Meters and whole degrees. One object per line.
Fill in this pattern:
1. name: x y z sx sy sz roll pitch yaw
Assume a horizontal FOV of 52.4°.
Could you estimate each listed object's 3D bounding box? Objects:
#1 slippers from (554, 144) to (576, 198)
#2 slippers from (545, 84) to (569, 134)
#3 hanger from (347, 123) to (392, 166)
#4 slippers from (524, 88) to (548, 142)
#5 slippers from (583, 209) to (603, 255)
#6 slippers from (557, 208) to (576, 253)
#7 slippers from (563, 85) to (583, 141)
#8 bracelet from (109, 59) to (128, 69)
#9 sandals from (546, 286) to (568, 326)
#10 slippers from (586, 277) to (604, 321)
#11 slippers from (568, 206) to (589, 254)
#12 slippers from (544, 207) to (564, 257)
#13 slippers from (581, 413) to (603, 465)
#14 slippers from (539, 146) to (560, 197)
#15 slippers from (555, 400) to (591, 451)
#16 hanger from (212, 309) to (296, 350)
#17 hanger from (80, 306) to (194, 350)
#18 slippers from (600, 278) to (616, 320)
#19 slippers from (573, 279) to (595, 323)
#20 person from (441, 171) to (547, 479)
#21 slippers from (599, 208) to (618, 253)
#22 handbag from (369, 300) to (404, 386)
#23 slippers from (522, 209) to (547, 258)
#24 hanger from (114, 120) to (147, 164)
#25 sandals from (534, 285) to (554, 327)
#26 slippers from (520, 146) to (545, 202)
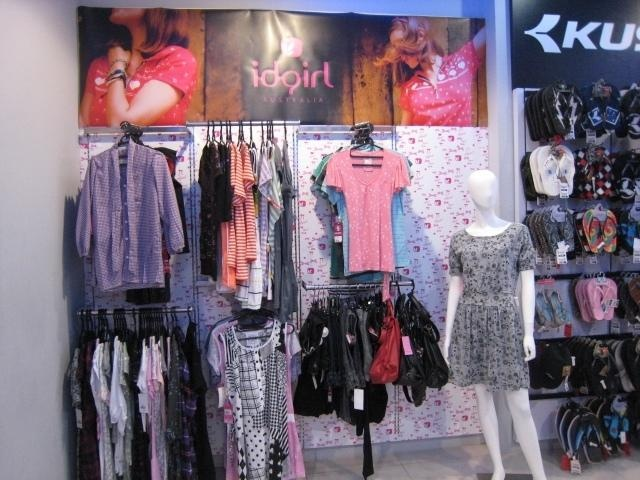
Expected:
1. slippers: 2.128 -0.596 5.679 0.136 0.486 0.149 1 4 8
2. slippers: 2.045 -1.127 5.593 0.230 0.385 0.097 -1 -3 -33
3. hanger: 0.377 -0.809 5.614 0.251 0.434 0.126 -1 0 -32
4. slippers: 1.899 -1.092 5.748 0.173 0.441 0.167 -2 2 15
5. slippers: 2.356 -0.064 5.675 0.169 0.394 0.102 -9 10 -12
6. slippers: 2.185 -0.066 5.690 0.113 0.440 0.254 -3 -2 20
7. slippers: 2.191 -1.107 5.634 0.186 0.430 0.094 -1 2 -28
8. bracelet: -1.761 -1.575 5.745 0.115 0.087 0.048 -4 12 -11
9. sandals: 2.091 0.626 5.739 0.159 0.368 0.112 -6 -11 -46
10. slippers: 2.411 0.553 5.707 0.154 0.353 0.083 3 -4 -14
11. slippers: 2.262 -0.071 5.714 0.108 0.435 0.159 -1 5 10
12. slippers: 2.020 -0.052 5.628 0.235 0.405 0.109 9 -14 -37
13. slippers: 2.309 1.780 5.563 0.125 0.491 0.170 0 -1 8
14. slippers: 1.988 -0.594 5.681 0.165 0.453 0.122 3 7 3
15. slippers: 2.154 1.667 5.673 0.185 0.466 0.098 1 3 -5
16. hanger: -0.549 0.799 5.471 0.659 0.282 0.243 -4 2 -4
17. hanger: -1.563 0.753 5.529 0.987 0.317 0.442 -5 2 -8
18. slippers: 2.549 0.561 5.744 0.145 0.349 0.107 0 7 6
19. slippers: 2.334 0.570 5.784 0.094 0.380 0.189 -3 -7 -45
20. person: 1.350 0.749 5.181 0.737 2.585 0.260 -2 1 17
21. slippers: 2.515 -0.043 5.745 0.117 0.460 0.160 1 -5 -9
22. handbag: 0.556 0.897 5.424 0.233 0.480 0.335 -2 2 35
23. slippers: 1.874 -0.027 5.700 0.106 0.423 0.292 -3 7 2
24. hanger: -1.579 -0.820 5.383 0.212 0.359 0.095 8 1 4
25. sandals: 1.948 0.662 5.766 0.120 0.423 0.146 -7 -4 -23
26. slippers: 1.848 -0.541 5.718 0.239 0.393 0.102 -11 13 -34
